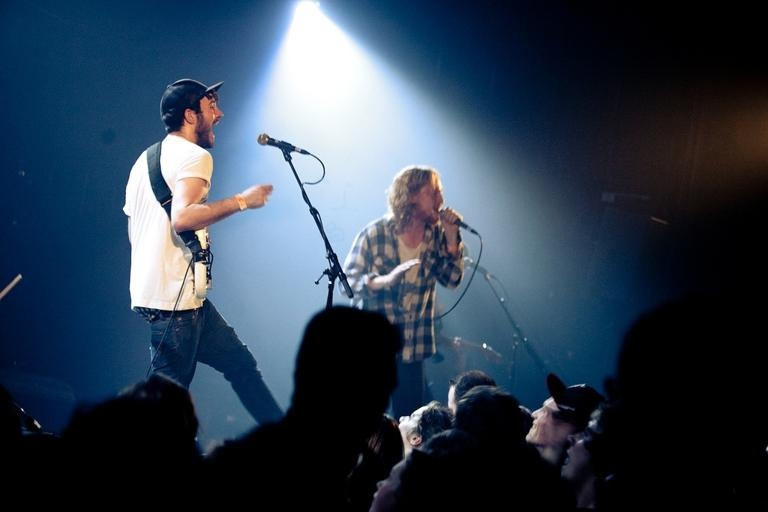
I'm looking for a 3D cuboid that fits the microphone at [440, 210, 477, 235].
[{"bbox_3d":[0.780,-0.353,6.380,0.407,0.098,0.095,37,-18,1],"label":"microphone"}]

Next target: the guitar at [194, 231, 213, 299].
[{"bbox_3d":[-1.411,0.083,4.714,0.126,0.416,0.283,0,-3,-1],"label":"guitar"}]

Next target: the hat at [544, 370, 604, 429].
[{"bbox_3d":[1.298,0.971,4.267,0.427,0.279,0.212,38,9,27],"label":"hat"}]

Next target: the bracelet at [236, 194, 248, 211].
[{"bbox_3d":[-1.157,-0.419,4.824,0.083,0.121,0.126,-3,5,-27],"label":"bracelet"}]
